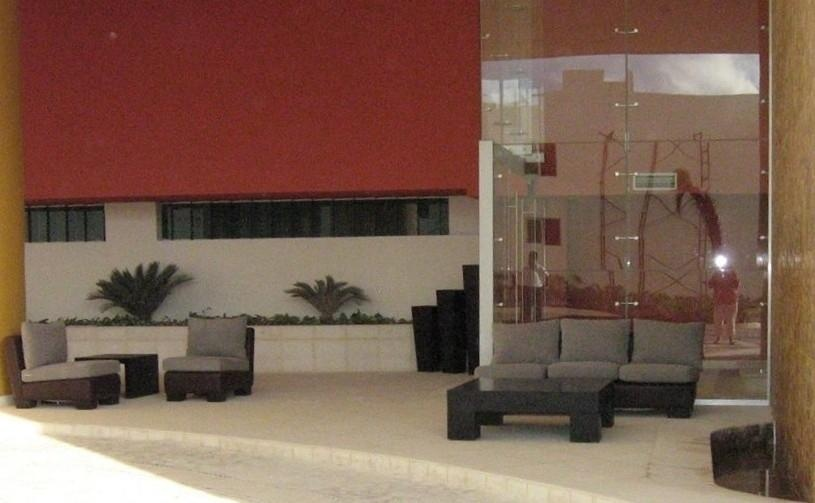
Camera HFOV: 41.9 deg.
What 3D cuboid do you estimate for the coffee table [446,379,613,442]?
[{"bbox_3d":[1.996,2.551,17.282,2.687,0.947,0.964,-2,-2,5],"label":"coffee table"}]

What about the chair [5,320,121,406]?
[{"bbox_3d":[-6.323,2.040,19.084,1.926,1.714,1.360,-1,-3,10],"label":"chair"}]

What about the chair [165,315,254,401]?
[{"bbox_3d":[-3.729,1.962,19.852,1.514,1.437,1.580,-1,-1,3],"label":"chair"}]
